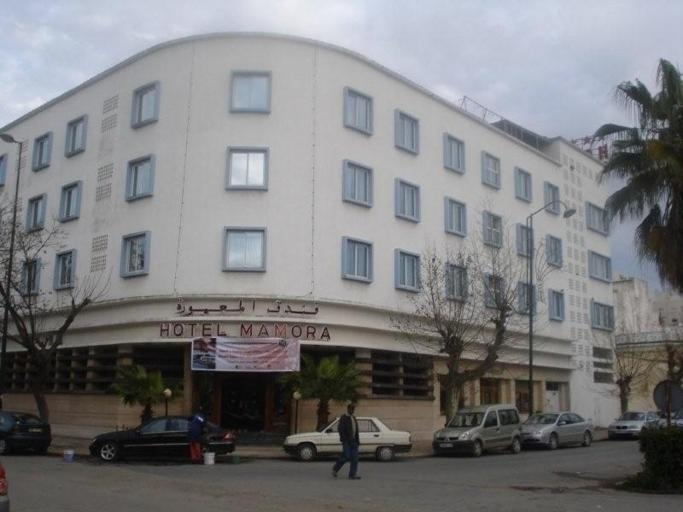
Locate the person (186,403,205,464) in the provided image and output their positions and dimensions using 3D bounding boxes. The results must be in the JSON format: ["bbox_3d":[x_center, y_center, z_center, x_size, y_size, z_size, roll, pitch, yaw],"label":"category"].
[{"bbox_3d":[-5.398,6.734,25.768,0.590,1.724,0.727,3,-15,-12],"label":"person"}]

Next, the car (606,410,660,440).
[{"bbox_3d":[16.996,10.037,41.550,2.470,1.622,2.508,-7,-17,20],"label":"car"}]

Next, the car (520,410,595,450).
[{"bbox_3d":[10.515,8.660,34.738,4.634,1.842,1.070,11,-19,-34],"label":"car"}]

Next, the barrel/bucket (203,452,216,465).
[{"bbox_3d":[-4.836,7.330,25.415,0.399,0.424,0.506,3,-16,-11],"label":"barrel/bucket"}]

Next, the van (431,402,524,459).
[{"bbox_3d":[6.051,7.788,31.397,4.325,2.304,1.548,12,-20,-37],"label":"van"}]

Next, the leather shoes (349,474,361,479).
[{"bbox_3d":[0.400,6.946,22.109,0.348,0.170,0.151,1,-5,-6],"label":"leather shoes"}]
